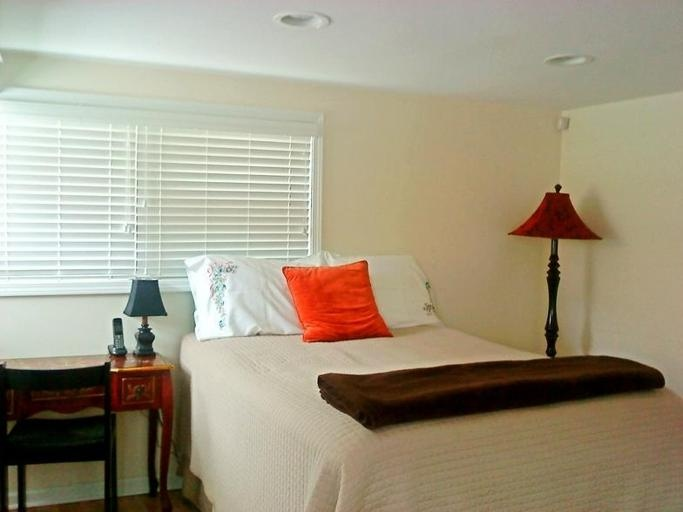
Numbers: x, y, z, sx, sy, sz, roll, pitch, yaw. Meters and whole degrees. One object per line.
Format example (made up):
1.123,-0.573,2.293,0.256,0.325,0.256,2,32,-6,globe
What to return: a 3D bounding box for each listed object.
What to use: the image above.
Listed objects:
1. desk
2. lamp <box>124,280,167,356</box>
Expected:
-1.420,0.967,3.064,1.022,0.849,0.444,0,-2,-21,desk
-1.192,0.365,3.397,0.243,0.454,0.298,-2,9,-21,lamp
